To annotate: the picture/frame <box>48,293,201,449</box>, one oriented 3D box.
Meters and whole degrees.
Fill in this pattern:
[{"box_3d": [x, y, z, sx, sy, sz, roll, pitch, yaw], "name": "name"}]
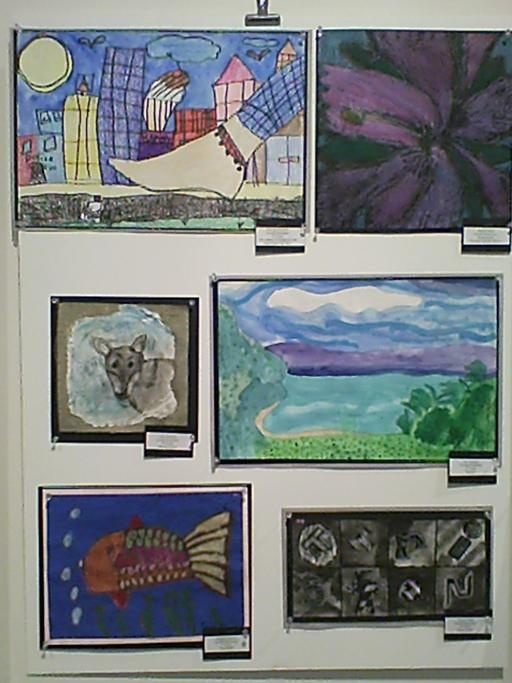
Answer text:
[{"box_3d": [-0.388, 0.087, 4.346, 0.421, 0.490, 0.008, -1, -33, -2], "name": "picture/frame"}]
